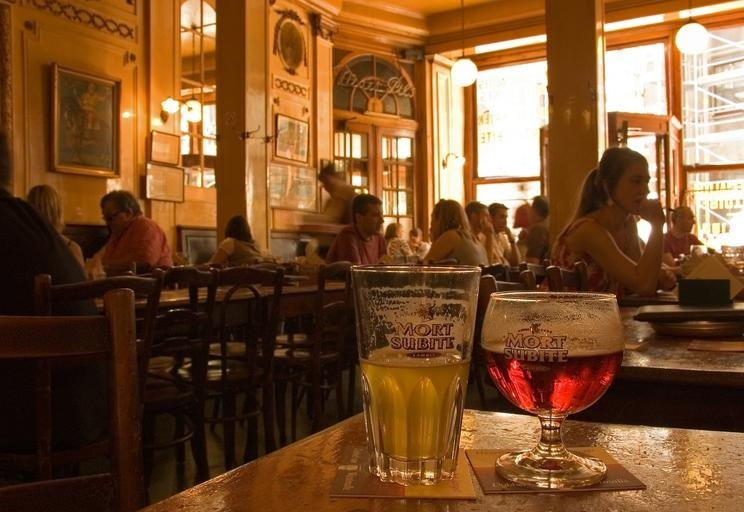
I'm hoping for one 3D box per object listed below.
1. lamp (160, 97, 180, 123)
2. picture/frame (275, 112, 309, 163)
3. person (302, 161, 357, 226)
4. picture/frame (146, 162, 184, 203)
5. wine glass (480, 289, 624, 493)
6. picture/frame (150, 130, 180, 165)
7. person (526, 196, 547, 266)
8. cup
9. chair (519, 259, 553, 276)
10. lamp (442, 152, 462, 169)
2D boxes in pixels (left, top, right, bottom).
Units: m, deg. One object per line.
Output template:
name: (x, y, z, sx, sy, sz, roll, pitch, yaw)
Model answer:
lamp: (-2.543, -1.841, 7.866, 0.221, 0.369, 0.513, -2, 5, -18)
picture/frame: (-1.190, -1.720, 9.092, 0.036, 0.620, 0.857, -2, -1, 24)
person: (-0.710, -0.964, 9.747, 0.861, 1.223, 0.818, 3, 5, 16)
picture/frame: (-2.615, -0.921, 7.831, 0.067, 0.388, 0.535, -2, -4, 28)
wine glass: (0.205, 0.152, 0.821, 0.199, 0.278, 0.200, 1, 9, 8)
picture/frame: (-2.616, -1.358, 7.852, 0.063, 0.353, 0.490, 0, -2, 24)
person: (1.786, -0.305, 6.782, 0.225, 0.703, 1.005, 1, 5, 14)
cup: (0.053, 0.137, 0.747, 0.152, 0.248, 0.071, 0, 5, -3)
chair: (0.801, 0.051, 3.052, 0.109, 0.149, 0.119, 0, 3, -29)
lamp: (1.488, -1.825, 12.122, 0.274, 0.336, 0.415, 3, -3, -39)
